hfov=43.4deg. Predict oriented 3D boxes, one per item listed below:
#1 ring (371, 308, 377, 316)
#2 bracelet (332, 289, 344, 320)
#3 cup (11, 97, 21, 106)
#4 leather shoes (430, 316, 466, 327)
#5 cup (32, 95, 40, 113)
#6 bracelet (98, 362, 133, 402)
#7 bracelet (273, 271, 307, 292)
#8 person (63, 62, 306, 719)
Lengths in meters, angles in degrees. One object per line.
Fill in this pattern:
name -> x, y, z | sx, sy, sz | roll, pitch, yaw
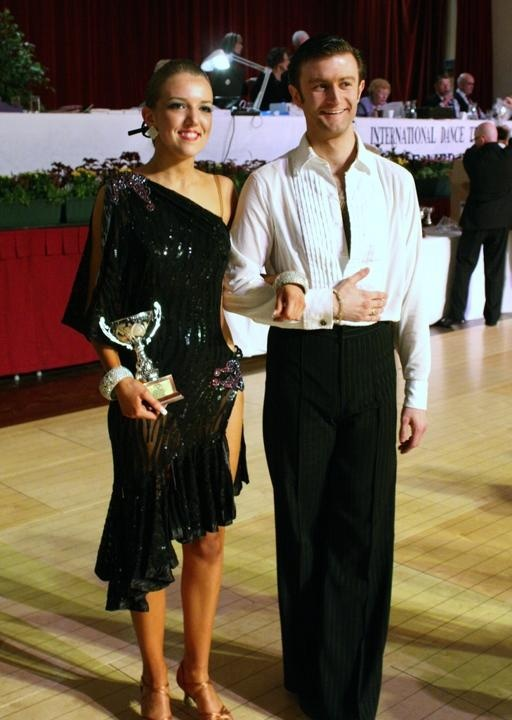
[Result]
ring -> 0.220, -0.089, 1.210 | 0.003, 0.010, 0.012 | 12, 8, 37
bracelet -> 0.151, -0.102, 1.194 | 0.017, 0.045, 0.035 | 4, 22, -8
cup -> -2.344, -2.539, 6.294 | 0.067, 0.085, 0.048 | -5, 11, -21
leather shoes -> 1.908, -0.370, 6.450 | 0.392, 0.150, 0.125 | -3, 2, -21
cup -> -2.224, -2.588, 6.504 | 0.091, 0.190, 0.280 | -5, 11, -18
bracelet -> -0.278, 0.044, 1.261 | 0.065, 0.065, 0.061 | 41, 14, 25
bracelet -> 0.066, -0.151, 1.213 | 0.054, 0.024, 0.043 | -3, -11, 18
person -> -0.168, 0.118, 1.339 | 0.416, 1.416, 0.341 | -4, 11, -16
